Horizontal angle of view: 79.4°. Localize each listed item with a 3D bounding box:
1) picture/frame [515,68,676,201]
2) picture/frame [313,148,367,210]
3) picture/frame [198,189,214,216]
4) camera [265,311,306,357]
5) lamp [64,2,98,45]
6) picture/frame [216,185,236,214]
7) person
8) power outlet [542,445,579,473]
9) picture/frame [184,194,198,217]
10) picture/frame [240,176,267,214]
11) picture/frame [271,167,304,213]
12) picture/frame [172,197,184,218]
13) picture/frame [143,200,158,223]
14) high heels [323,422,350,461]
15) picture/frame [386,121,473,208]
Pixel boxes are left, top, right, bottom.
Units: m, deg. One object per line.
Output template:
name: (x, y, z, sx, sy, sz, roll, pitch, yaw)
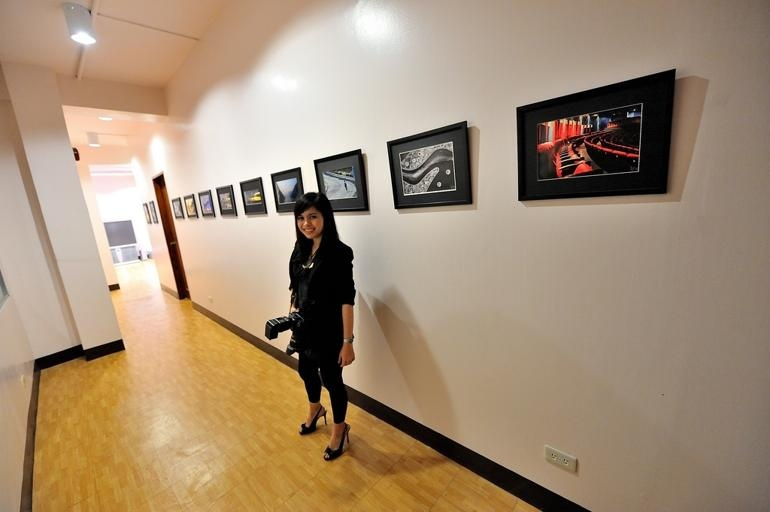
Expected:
picture/frame: (1.345, -0.770, 2.882, 0.847, 0.631, 0.034, 1, 3, 29)
picture/frame: (-0.357, -0.625, 3.774, 0.543, 0.467, 0.041, 3, 21, 43)
picture/frame: (-2.118, -0.642, 5.471, 0.298, 0.310, 0.021, 9, 19, 40)
camera: (-0.805, 0.645, 3.707, 0.301, 0.378, 0.133, -19, 35, -40)
lamp: (-2.733, -2.086, 4.160, 0.175, 0.301, 0.236, 7, 15, 44)
picture/frame: (-1.742, -0.631, 5.070, 0.025, 0.296, 0.334, -13, 10, -39)
person: (-0.515, 0.548, 3.728, 0.568, 2.101, 0.458, -2, 11, 7)
power outlet: (1.219, 1.388, 3.200, 0.208, 0.153, 0.041, 10, 19, 40)
picture/frame: (-2.465, -0.656, 5.871, 0.275, 0.287, 0.022, 10, 21, 41)
picture/frame: (-1.320, -0.621, 4.651, 0.381, 0.346, 0.028, 6, 16, 44)
picture/frame: (-0.879, -0.610, 4.189, 0.461, 0.414, 0.046, 10, 17, 43)
picture/frame: (-2.837, -0.673, 6.321, 0.012, 0.195, 0.264, -20, 25, -41)
picture/frame: (-3.901, -0.752, 7.687, 0.015, 0.243, 0.404, -19, 27, -37)
high heels: (-0.387, 1.534, 3.818, 0.122, 0.180, 0.368, -6, -8, 25)
picture/frame: (0.339, -0.676, 3.338, 0.649, 0.546, 0.027, -2, 7, 34)
